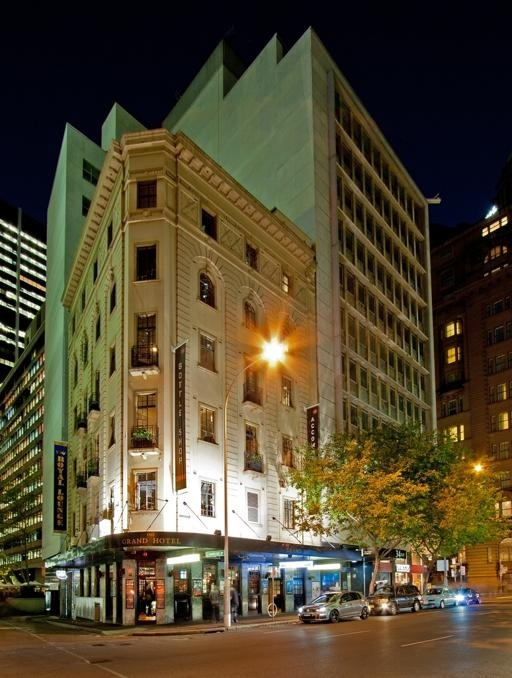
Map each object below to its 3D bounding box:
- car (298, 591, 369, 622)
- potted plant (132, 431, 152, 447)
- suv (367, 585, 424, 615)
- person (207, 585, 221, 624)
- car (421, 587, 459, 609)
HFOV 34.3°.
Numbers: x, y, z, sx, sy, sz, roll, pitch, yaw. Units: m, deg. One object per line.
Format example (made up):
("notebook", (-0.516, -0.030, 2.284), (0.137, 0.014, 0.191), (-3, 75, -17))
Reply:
("car", (3.255, 10.764, 33.423), (1.292, 1.288, 3.233), (-18, -25, 39))
("potted plant", (-4.717, 4.097, 33.955), (0.619, 0.861, 0.623), (2, -12, -9))
("suv", (6.607, 12.197, 38.661), (1.411, 1.543, 3.085), (-25, -32, 34))
("person", (-1.761, 10.994, 34.989), (0.487, 1.606, 1.839), (-1, -19, -3))
("car", (9.940, 13.818, 44.244), (0.902, 0.885, 2.232), (-15, -25, 26))
